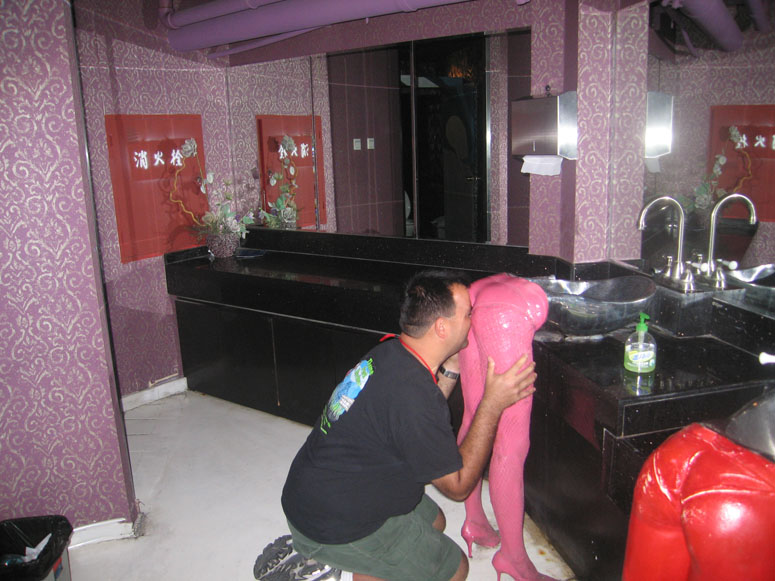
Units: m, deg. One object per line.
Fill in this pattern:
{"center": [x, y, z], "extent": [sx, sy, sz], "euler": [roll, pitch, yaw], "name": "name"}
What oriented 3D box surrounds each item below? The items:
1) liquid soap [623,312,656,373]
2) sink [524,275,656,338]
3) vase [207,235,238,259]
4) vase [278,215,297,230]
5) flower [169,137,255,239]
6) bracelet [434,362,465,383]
{"center": [0.856, 0.175, 1.999], "extent": [0.102, 0.186, 0.115], "euler": [4, 14, 25], "name": "liquid soap"}
{"center": [0.780, 0.052, 2.169], "extent": [0.313, 0.128, 0.289], "euler": [-19, 5, 4], "name": "sink"}
{"center": [-1.097, -0.283, 3.927], "extent": [0.159, 0.136, 0.154], "euler": [2, 4, 31], "name": "vase"}
{"center": [-0.670, -0.457, 4.021], "extent": [0.080, 0.105, 0.045], "euler": [0, 14, 19], "name": "vase"}
{"center": [-1.201, -0.597, 3.959], "extent": [0.423, 0.645, 0.250], "euler": [-34, 15, -35], "name": "flower"}
{"center": [0.240, 0.299, 2.245], "extent": [0.071, 0.057, 0.072], "euler": [38, 3, 1], "name": "bracelet"}
